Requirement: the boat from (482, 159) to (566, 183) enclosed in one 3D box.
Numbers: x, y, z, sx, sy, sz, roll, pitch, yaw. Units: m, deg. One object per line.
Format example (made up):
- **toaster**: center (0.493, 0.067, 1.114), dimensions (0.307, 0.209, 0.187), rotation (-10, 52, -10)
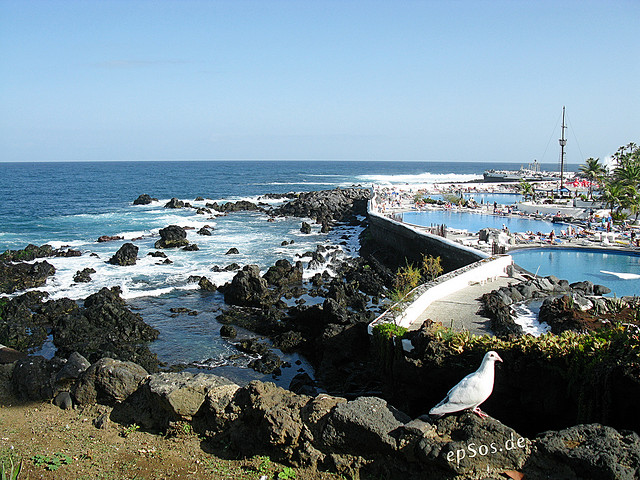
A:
- **boat**: center (49.795, -17.073, 125.711), dimensions (13.489, 4.176, 110.508), rotation (4, 9, 20)
